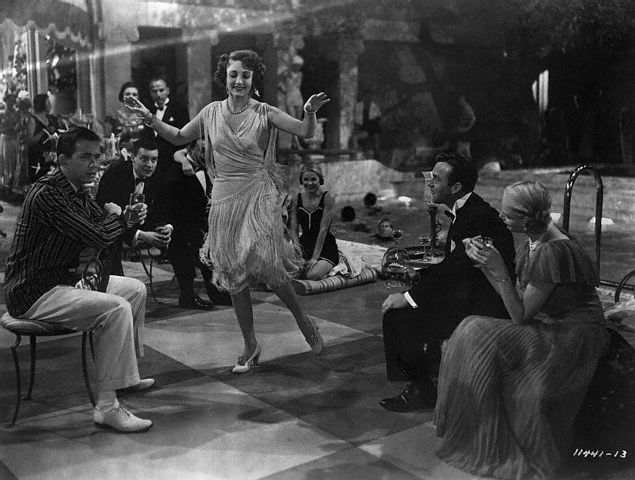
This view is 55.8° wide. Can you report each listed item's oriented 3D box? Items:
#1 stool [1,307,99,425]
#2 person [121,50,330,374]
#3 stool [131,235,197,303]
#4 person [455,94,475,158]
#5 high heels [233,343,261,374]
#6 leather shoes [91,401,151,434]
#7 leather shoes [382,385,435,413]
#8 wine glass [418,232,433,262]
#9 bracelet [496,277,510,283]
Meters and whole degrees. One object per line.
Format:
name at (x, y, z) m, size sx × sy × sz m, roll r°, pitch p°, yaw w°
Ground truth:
stool at (-1.617, 0.782, 3.638) m, size 0.493 × 0.575 × 0.552 m, roll 4°, pitch 10°, yaw 9°
person at (-0.489, -0.195, 4.097) m, size 1.137 × 2.128 × 0.567 m, roll -1°, pitch 11°, yaw 2°
stool at (-1.403, 0.279, 5.546) m, size 0.335 × 0.446 × 0.436 m, roll -17°, pitch 25°, yaw -37°
person at (2.573, -1.950, 10.379) m, size 0.310 × 1.019 × 0.641 m, roll 1°, pitch 11°, yaw 13°
high heels at (-0.479, 0.820, 4.091) m, size 0.092 × 0.117 × 0.262 m, roll -5°, pitch -1°, yaw 25°
leather shoes at (-1.071, 0.973, 3.345) m, size 0.366 × 0.189 × 0.135 m, roll 3°, pitch 4°, yaw 0°
leather shoes at (0.540, 0.917, 3.499) m, size 0.365 × 0.172 × 0.129 m, roll 0°, pitch 2°, yaw 0°
wine glass at (0.992, 0.069, 5.427) m, size 0.165 × 0.222 × 0.186 m, roll -1°, pitch 1°, yaw 1°
bracelet at (0.867, 0.186, 2.794) m, size 0.056 × 0.032 × 0.022 m, roll 2°, pitch 12°, yaw 18°
